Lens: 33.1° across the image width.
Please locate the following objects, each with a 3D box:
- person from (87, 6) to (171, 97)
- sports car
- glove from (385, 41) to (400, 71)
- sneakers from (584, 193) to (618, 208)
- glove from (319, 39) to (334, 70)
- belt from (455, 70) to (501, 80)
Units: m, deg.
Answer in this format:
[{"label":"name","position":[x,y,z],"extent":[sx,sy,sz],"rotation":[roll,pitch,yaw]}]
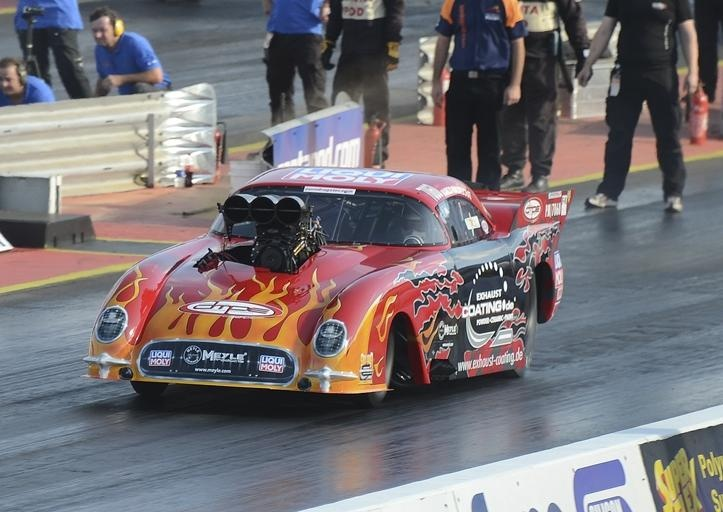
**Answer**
[{"label":"person","position":[-2.908,-2.500,15.151],"extent":[0.858,1.143,0.734],"rotation":[-7,26,-5]},{"label":"sports car","position":[0.169,0.155,8.678],"extent":[1.835,0.806,2.725],"rotation":[2,1,31]},{"label":"glove","position":[0.402,-2.424,14.920],"extent":[0.246,0.298,0.124],"rotation":[6,5,-2]},{"label":"sneakers","position":[2.752,-0.641,14.147],"extent":[0.437,0.146,0.141],"rotation":[6,7,-21]},{"label":"glove","position":[-0.398,-2.471,15.290],"extent":[0.156,0.256,0.387],"rotation":[-13,-5,-1]},{"label":"belt","position":[1.236,-1.927,12.997],"extent":[0.522,0.095,0.143],"rotation":[2,24,13]}]
